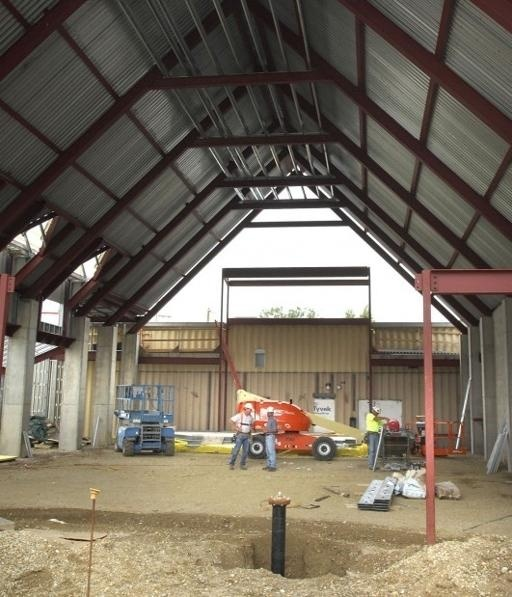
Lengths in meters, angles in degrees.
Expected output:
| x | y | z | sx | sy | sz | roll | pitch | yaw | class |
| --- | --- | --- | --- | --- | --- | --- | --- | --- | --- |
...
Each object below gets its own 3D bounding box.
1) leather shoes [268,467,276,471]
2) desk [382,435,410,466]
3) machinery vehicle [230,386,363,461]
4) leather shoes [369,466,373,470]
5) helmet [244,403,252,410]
| x | y | z | sx | sy | sz | roll | pitch | yaw | class |
| --- | --- | --- | --- | --- | --- | --- | --- | --- | --- |
| 0.467 | 5.017 | 16.242 | 0.225 | 0.099 | 0.523 | 1 | -10 | 6 | leather shoes |
| 4.212 | 4.558 | 16.626 | 0.930 | 1.113 | 0.533 | 2 | 1 | 16 | desk |
| 1.580 | 4.797 | 20.865 | 4.950 | 2.049 | 2.771 | 6 | -7 | -11 | machinery vehicle |
| 3.422 | 5.071 | 16.542 | 0.090 | 0.073 | 0.120 | 1 | -8 | 8 | leather shoes |
| -0.222 | 3.241 | 16.600 | 0.177 | 0.116 | 0.228 | 14 | -23 | 23 | helmet |
